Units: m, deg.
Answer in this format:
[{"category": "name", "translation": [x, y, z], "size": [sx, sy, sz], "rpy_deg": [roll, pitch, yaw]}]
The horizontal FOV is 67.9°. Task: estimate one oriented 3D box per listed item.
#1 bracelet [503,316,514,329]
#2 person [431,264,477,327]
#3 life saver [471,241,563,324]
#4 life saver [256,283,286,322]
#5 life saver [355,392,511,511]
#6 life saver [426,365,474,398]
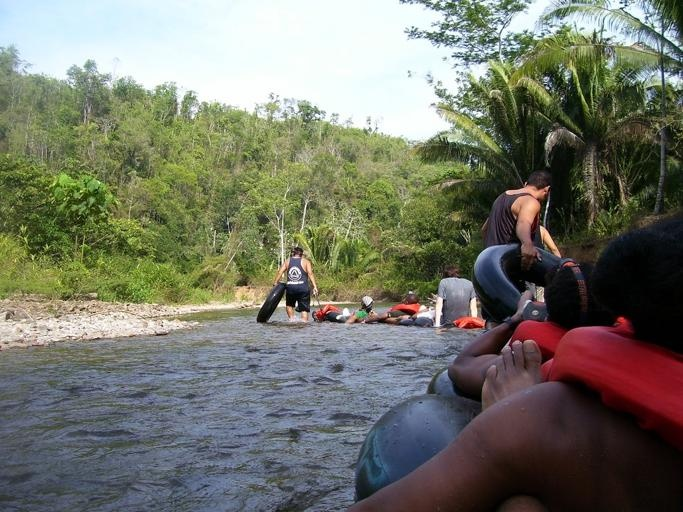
[{"category": "bracelet", "translation": [0.734, 0.283, 2.224], "size": [0.032, 0.045, 0.050], "rpy_deg": [13, 11, 22]}, {"category": "person", "translation": [2.462, 1.118, 11.034], "size": [0.859, 2.305, 0.594], "rpy_deg": [-1, 27, 2]}, {"category": "life saver", "translation": [1.095, 0.115, 3.490], "size": [0.565, 0.581, 0.152], "rpy_deg": [20, -45, -4]}, {"category": "life saver", "translation": [-1.793, 1.141, 12.934], "size": [0.586, 0.981, 0.753], "rpy_deg": [0, -2, 19]}, {"category": "life saver", "translation": [0.307, 0.778, 1.980], "size": [0.468, 0.261, 0.467], "rpy_deg": [-34, 1, 4]}, {"category": "life saver", "translation": [0.492, 0.609, 2.459], "size": [0.138, 0.053, 0.134], "rpy_deg": [-3, 5, -37]}]
